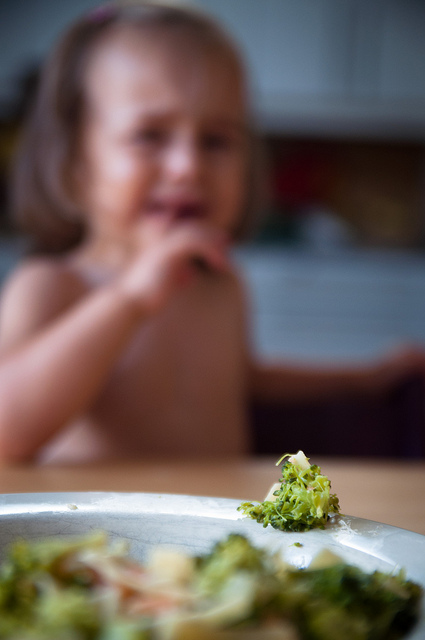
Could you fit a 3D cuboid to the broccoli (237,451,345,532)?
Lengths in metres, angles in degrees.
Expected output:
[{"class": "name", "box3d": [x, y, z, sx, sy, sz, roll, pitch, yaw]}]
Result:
[{"class": "broccoli", "box3d": [0.051, 0.112, 0.414, 0.054, 0.044, 0.030, -11, 45, 19]}]

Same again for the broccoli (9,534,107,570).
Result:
[{"class": "broccoli", "box3d": [-0.081, 0.122, 0.335, 0.043, 0.015, 0.029, 9, -19, -13]}]

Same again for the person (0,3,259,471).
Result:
[{"class": "person", "box3d": [-0.131, -0.189, 1.319, 0.577, 0.983, 0.389, 6, -9, -6]}]
